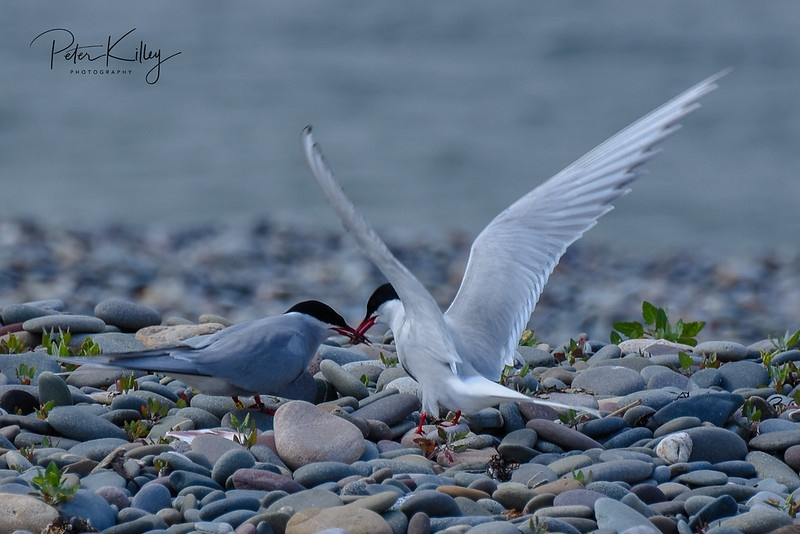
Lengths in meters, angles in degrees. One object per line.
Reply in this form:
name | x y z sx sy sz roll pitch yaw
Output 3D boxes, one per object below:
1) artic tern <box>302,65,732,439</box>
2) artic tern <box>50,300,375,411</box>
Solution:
artic tern | 0.676 -0.037 9.033 3.125 2.413 3.602 1 0 -6
artic tern | -1.307 0.617 8.522 2.147 0.750 0.571 1 1 -28
